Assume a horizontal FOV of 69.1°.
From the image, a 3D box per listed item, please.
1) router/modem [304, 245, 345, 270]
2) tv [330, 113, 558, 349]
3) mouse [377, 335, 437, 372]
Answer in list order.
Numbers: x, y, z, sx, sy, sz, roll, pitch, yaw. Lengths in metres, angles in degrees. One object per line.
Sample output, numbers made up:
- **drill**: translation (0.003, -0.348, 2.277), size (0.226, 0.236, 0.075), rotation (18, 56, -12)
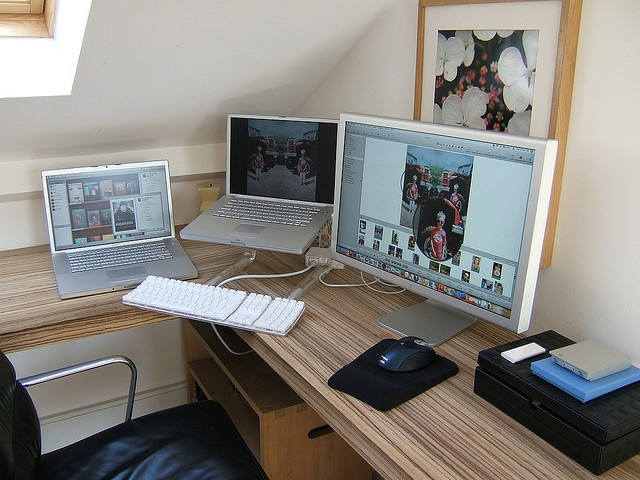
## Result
- **router/modem**: translation (0.013, 0.059, 1.548), size (0.081, 0.020, 0.084), rotation (9, 20, 11)
- **tv**: translation (0.325, -0.022, 1.166), size (0.172, 0.427, 0.482), rotation (-21, 33, -38)
- **mouse**: translation (0.218, 0.266, 1.108), size (0.153, 0.044, 0.110), rotation (-8, 11, -35)
